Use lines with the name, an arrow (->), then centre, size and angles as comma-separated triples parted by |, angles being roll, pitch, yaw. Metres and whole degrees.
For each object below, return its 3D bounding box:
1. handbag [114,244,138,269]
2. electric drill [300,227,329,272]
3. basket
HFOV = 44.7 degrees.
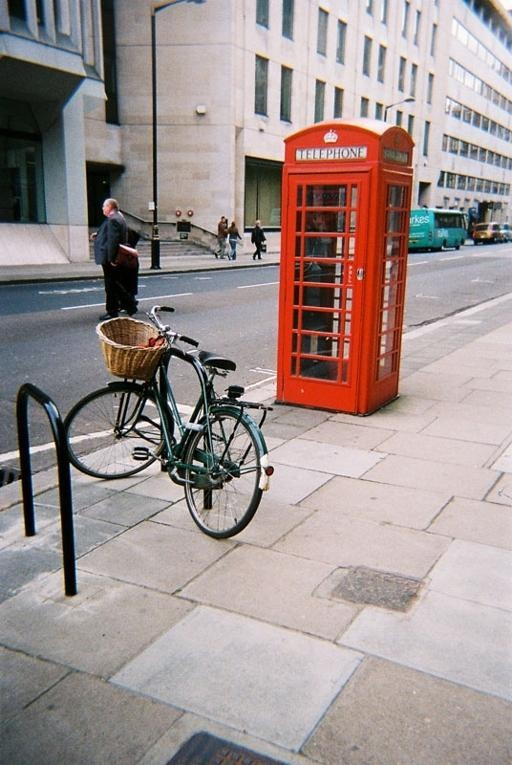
handbag -> -2.229, -2.142, 10.578 | 0.207, 0.398, 0.417 | 28, 13, 28
electric drill -> 0.575, -1.261, 5.876 | 0.234, 0.418, 0.102 | 3, 12, 10
basket -> -0.808, -0.135, 3.983 | 0.416, 0.304, 0.408 | 13, 30, 10
